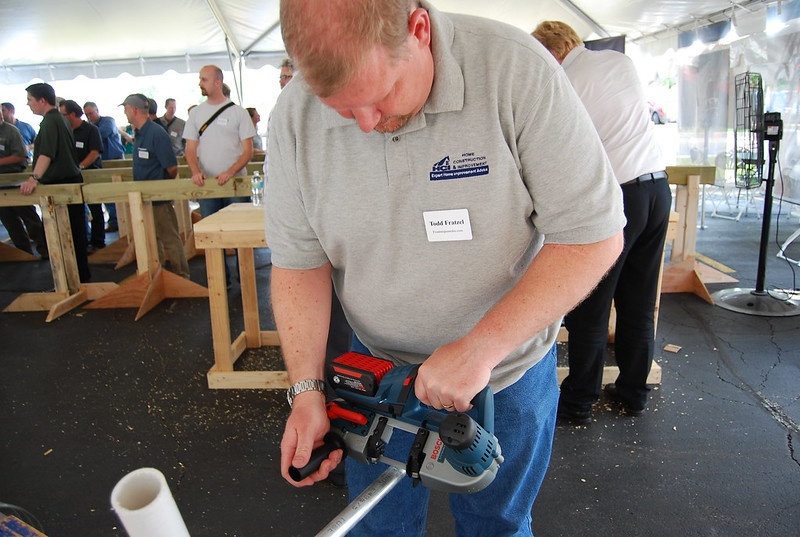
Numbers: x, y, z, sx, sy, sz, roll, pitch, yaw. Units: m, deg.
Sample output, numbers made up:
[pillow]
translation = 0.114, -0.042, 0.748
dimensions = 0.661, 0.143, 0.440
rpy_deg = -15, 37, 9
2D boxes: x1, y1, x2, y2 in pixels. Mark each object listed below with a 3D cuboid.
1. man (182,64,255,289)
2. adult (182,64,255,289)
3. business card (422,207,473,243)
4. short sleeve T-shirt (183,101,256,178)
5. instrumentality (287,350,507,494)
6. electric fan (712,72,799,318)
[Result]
[man]
translation = -2.021, -1.023, 6.531
dimensions = 0.851, 2.369, 0.785
rpy_deg = 0, 19, 3
[adult]
translation = -2.004, -1.032, 6.493
dimensions = 0.803, 2.419, 0.877
rpy_deg = -2, 17, 9
[business card]
translation = 0.209, -0.191, 2.426
dimensions = 0.153, 0.106, 0.016
rpy_deg = -4, 22, 14
[short sleeve T-shirt]
translation = -2.037, -1.465, 6.536
dimensions = 0.783, 0.822, 0.420
rpy_deg = 1, 16, -1
[instrumentality]
translation = -0.008, 0.603, 2.617
dimensions = 1.036, 0.403, 0.581
rpy_deg = 13, 37, 33
[electric fan]
translation = 3.869, -0.955, 6.162
dimensions = 0.733, 2.227, 2.586
rpy_deg = 5, 19, 29
